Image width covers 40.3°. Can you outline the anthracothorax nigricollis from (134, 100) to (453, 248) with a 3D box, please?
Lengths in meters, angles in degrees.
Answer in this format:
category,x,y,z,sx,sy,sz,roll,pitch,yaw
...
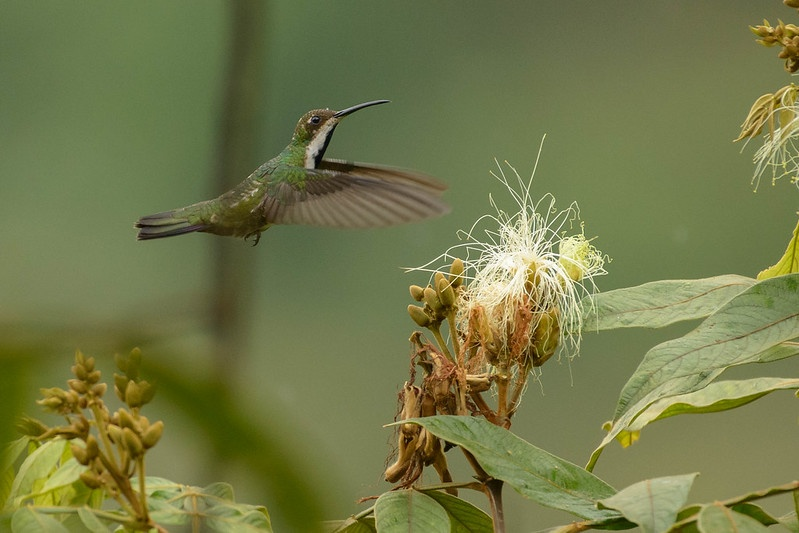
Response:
category,x,y,z,sx,sy,sz,roll,pitch,yaw
anthracothorax nigricollis,-0.240,-0.179,2.244,0.620,0.474,0.259,-10,-84,0
